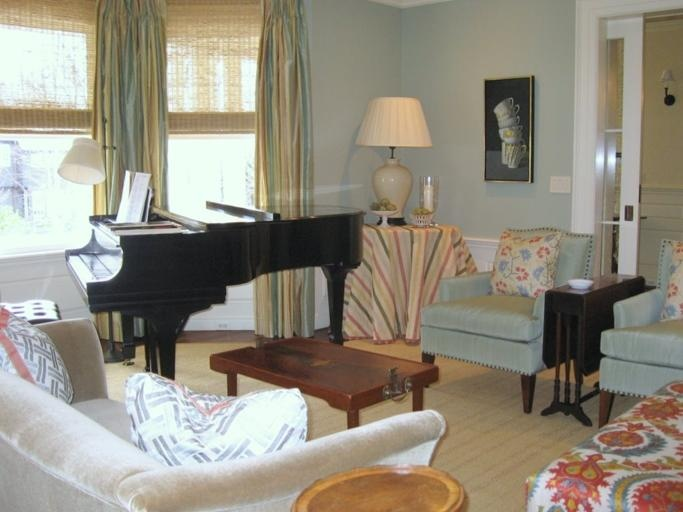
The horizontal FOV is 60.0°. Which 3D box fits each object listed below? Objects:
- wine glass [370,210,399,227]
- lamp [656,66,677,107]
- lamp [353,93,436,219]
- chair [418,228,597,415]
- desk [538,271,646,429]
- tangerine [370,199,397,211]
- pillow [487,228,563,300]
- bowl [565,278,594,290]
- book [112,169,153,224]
[{"bbox_3d":[0.399,-0.343,5.375,0.185,0.121,0.189,0,0,5],"label":"wine glass"},{"bbox_3d":[3.748,-1.929,6.796,0.182,0.418,0.157,6,11,32],"label":"lamp"},{"bbox_3d":[0.445,-0.838,5.458,0.619,0.996,0.633,3,-1,30],"label":"lamp"},{"bbox_3d":[1.090,0.398,4.355,1.116,1.274,1.097,2,2,44],"label":"chair"},{"bbox_3d":[1.688,0.568,3.874,0.903,0.863,0.329,-13,16,-41],"label":"desk"},{"bbox_3d":[0.391,-0.445,5.286,0.137,0.061,0.142,13,11,42],"label":"tangerine"},{"bbox_3d":[1.270,0.070,4.057,0.222,0.456,0.463,-8,5,-43],"label":"pillow"},{"bbox_3d":[1.467,0.160,3.639,0.134,0.056,0.243,4,11,25],"label":"bowl"},{"bbox_3d":[-1.455,-0.403,4.118,0.145,0.492,0.431,-1,6,-39],"label":"book"}]
